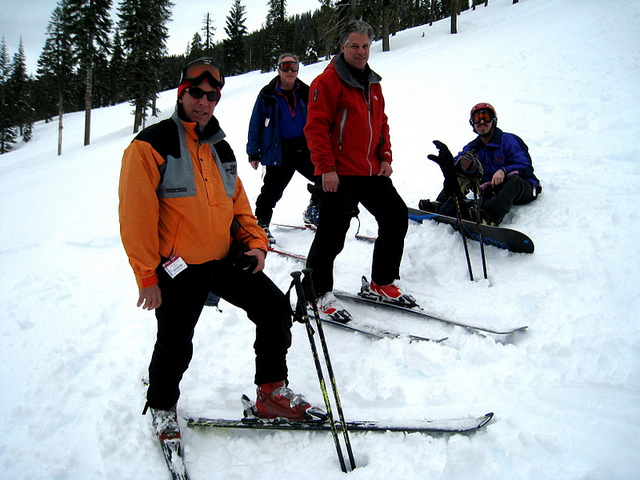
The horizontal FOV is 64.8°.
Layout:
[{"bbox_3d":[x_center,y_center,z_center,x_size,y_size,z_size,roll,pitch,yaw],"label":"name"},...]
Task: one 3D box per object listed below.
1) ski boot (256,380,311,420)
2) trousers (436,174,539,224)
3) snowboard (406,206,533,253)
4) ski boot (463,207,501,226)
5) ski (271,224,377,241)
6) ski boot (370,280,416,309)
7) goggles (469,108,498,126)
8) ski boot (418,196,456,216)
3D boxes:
[{"bbox_3d":[-0.361,1.479,4.764,0.639,0.471,0.231,0,3,-3],"label":"ski boot"},{"bbox_3d":[2.204,-0.691,6.944,1.312,0.468,1.275,-16,21,-25],"label":"trousers"},{"bbox_3d":[2.001,-0.133,6.525,0.086,0.214,1.607,-24,33,-36],"label":"snowboard"},{"bbox_3d":[2.102,-0.314,6.560,0.247,0.107,0.319,-35,53,-22],"label":"ski boot"},{"bbox_3d":[0.096,-0.107,6.918,1.405,0.160,0.086,9,5,24],"label":"ski"},{"bbox_3d":[0.810,0.579,5.836,0.577,0.261,0.212,21,2,8],"label":"ski boot"},{"bbox_3d":[2.200,-1.677,6.779,0.330,0.200,0.150,-1,12,20],"label":"goggles"},{"bbox_3d":[1.686,-0.511,7.092,0.166,0.242,0.539,-15,30,-38],"label":"ski boot"}]
